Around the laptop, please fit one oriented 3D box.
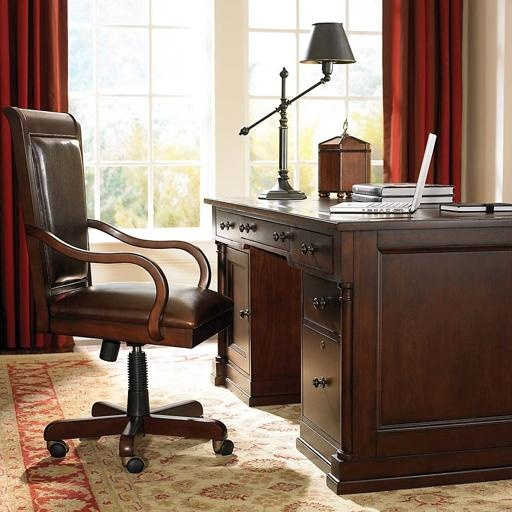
[{"bbox_3d":[0.389,-0.205,1.743,0.216,0.299,0.290,8,7,9],"label":"laptop"}]
